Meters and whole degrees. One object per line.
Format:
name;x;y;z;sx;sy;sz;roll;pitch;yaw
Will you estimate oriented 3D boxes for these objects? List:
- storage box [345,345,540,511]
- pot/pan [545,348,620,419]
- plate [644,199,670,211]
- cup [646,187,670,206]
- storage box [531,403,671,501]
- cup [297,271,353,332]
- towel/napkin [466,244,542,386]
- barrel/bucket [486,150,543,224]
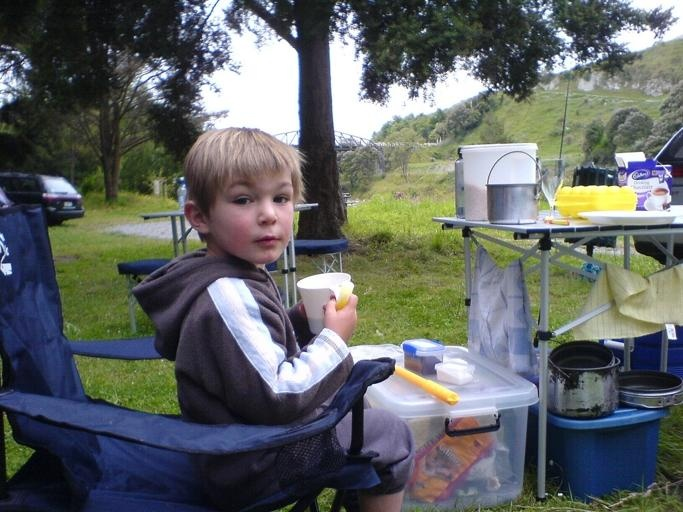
storage box;0.416;0.977;4.269;0.977;0.785;1.178;3;3;-5
pot/pan;1.266;0.616;4.017;0.309;0.394;0.360;1;6;-4
plate;1.717;-0.275;4.122;0.090;0.075;0.076;-1;5;7
cup;1.718;-0.316;4.099;0.104;0.085;0.087;-4;17;26
storage box;1.310;1.000;4.282;0.758;0.449;0.842;4;5;-4
cup;-0.081;0.194;3.446;0.187;0.224;0.290;-6;13;-19
towel/napkin;0.899;0.351;4.220;0.147;0.718;0.684;-3;7;-16
barrel/bucket;0.912;-0.373;3.996;0.292;0.370;0.229;0;7;3
